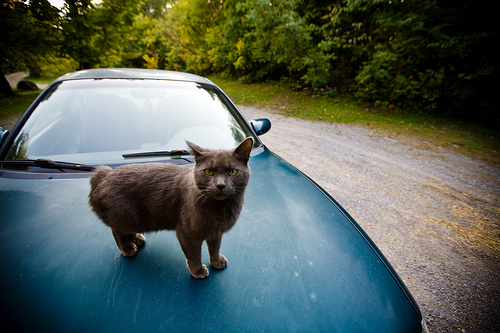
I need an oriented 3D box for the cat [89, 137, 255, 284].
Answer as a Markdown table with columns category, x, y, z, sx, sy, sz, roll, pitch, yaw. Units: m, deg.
| category | x | y | z | sx | sy | sz | roll | pitch | yaw |
| --- | --- | --- | --- | --- | --- | --- | --- | --- | --- |
| cat | -0.847 | 0.356 | 2.993 | 1.898 | 1.479 | 0.877 | 8 | 15 | 18 |
